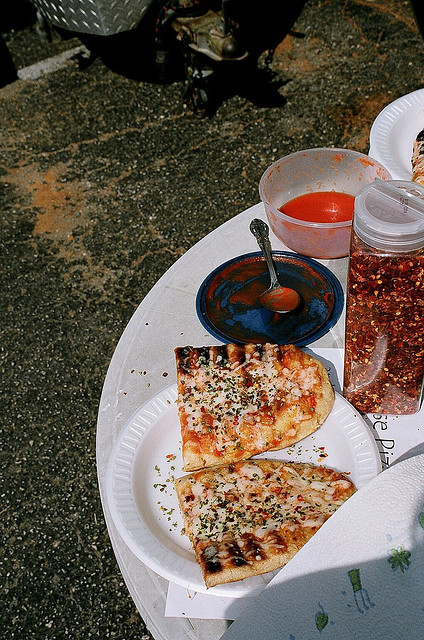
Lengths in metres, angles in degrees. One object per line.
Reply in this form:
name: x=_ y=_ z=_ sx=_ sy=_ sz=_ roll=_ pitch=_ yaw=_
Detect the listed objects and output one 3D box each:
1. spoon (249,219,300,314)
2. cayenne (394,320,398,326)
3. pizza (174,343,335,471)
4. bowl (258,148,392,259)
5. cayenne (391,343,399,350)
spoon: x=0.138 y=-0.121 z=1.399 sx=0.089 sy=0.288 sz=0.032 roll=-12 pitch=41 yaw=11
cayenne: x=0.317 y=0.004 z=1.035 sx=0.005 sy=0.013 sz=0.003 roll=-7 pitch=51 yaw=8
pizza: x=0.090 y=0.160 z=1.226 sx=0.300 sy=0.050 sz=0.233 roll=-5 pitch=56 yaw=1
bowl: x=0.257 y=-0.318 z=1.461 sx=0.336 sy=0.144 sz=0.303 roll=-3 pitch=61 yaw=4
cayenne: x=0.326 y=0.045 z=1.070 sx=0.008 sy=0.004 sz=0.011 roll=7 pitch=38 yaw=29
